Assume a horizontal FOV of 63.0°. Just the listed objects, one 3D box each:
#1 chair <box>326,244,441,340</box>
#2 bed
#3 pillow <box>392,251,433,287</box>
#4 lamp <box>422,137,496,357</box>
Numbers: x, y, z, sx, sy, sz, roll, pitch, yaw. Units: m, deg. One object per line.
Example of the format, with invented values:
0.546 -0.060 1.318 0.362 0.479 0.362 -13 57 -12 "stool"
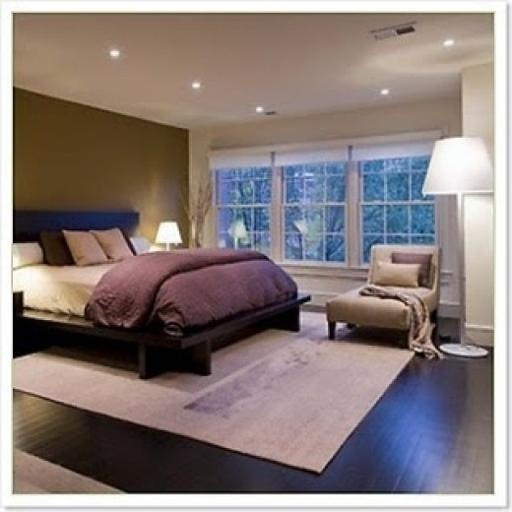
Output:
1.200 0.323 3.867 0.648 0.862 1.204 0 -1 29 "chair"
-0.931 0.269 3.213 1.396 0.903 1.473 -1 0 23 "bed"
1.574 0.096 4.103 0.292 0.354 0.133 -1 -16 40 "pillow"
1.618 -0.089 3.363 0.510 1.724 0.477 4 7 37 "lamp"
